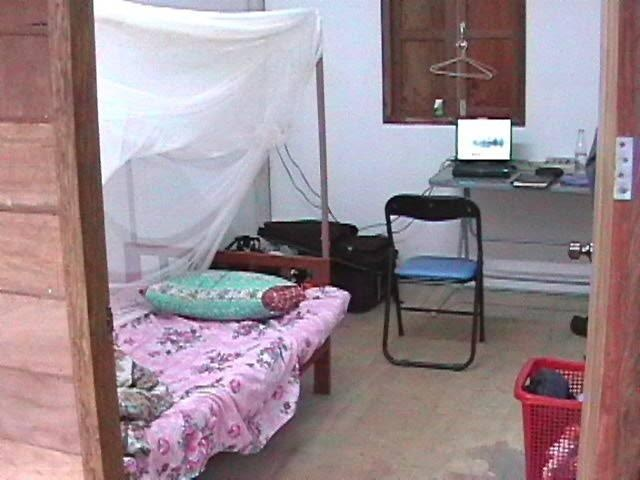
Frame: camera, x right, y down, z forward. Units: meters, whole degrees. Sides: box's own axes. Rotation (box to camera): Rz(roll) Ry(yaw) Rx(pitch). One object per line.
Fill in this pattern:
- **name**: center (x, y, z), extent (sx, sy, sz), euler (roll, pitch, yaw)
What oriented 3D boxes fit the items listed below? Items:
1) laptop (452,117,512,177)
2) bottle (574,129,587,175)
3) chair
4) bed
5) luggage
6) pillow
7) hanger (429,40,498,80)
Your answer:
- **laptop**: center (1.022, -0.577, 4.038), extent (0.376, 0.354, 0.416), euler (2, 11, 13)
- **bottle**: center (1.688, -0.579, 4.219), extent (0.081, 0.288, 0.081), euler (1, 3, 0)
- **chair**: center (0.640, 0.195, 3.621), extent (0.527, 0.928, 0.583), euler (2, 9, 16)
- **bed**: center (-0.411, 0.487, 2.562), extent (0.736, 0.672, 1.021), euler (2, 8, 21)
- **luggage**: center (0.032, 0.160, 4.511), extent (0.882, 0.584, 0.567), euler (8, 13, 21)
- **pillow**: center (-0.435, 0.239, 2.973), extent (0.575, 0.197, 0.296), euler (0, 14, 7)
- **hanger**: center (0.983, -1.232, 4.483), extent (0.425, 0.247, 0.047), euler (2, 11, 12)
